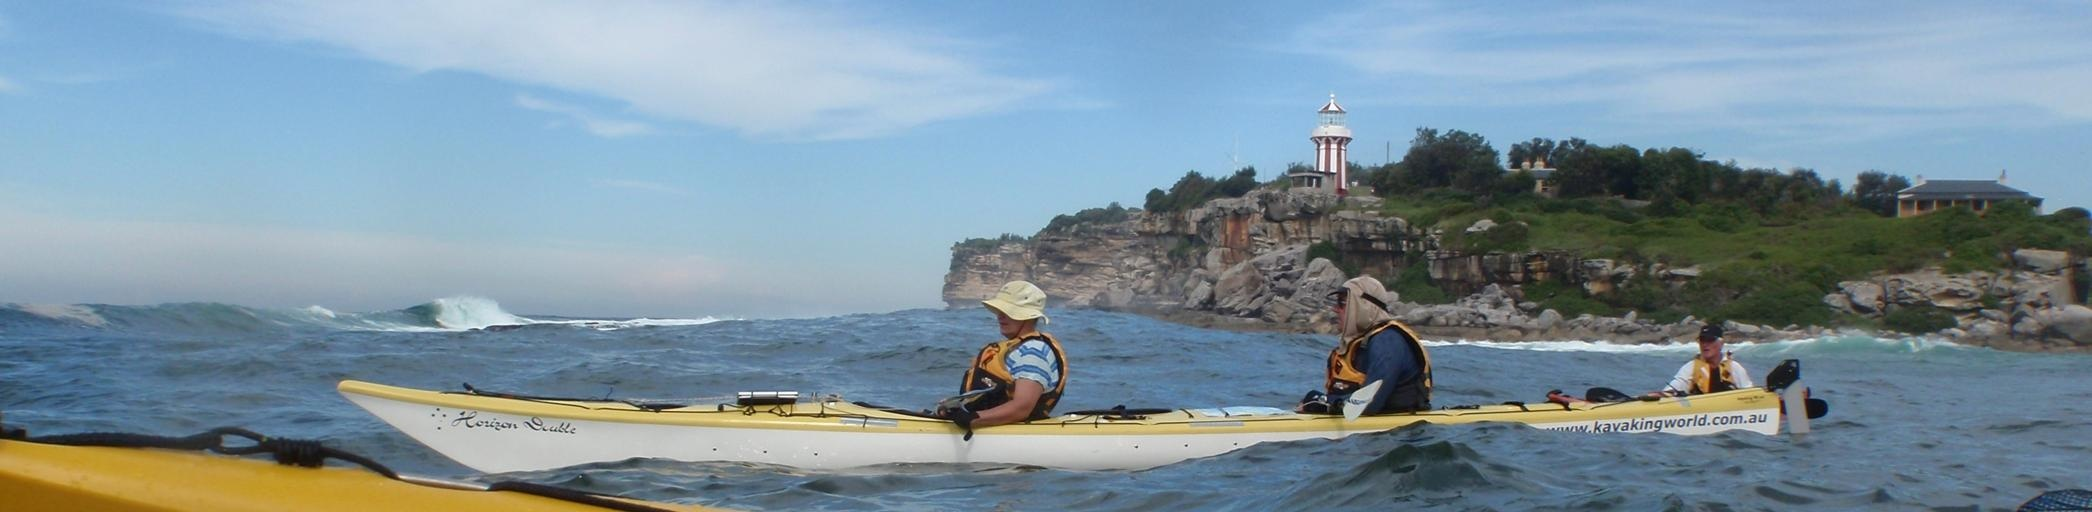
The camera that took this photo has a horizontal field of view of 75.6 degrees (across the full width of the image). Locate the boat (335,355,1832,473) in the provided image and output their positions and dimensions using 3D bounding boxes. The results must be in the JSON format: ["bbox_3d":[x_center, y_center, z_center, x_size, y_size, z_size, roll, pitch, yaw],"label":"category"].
[{"bbox_3d":[0.294,18.054,150.300,148.350,8.103,13.319,1,-4,-3],"label":"boat"}]
